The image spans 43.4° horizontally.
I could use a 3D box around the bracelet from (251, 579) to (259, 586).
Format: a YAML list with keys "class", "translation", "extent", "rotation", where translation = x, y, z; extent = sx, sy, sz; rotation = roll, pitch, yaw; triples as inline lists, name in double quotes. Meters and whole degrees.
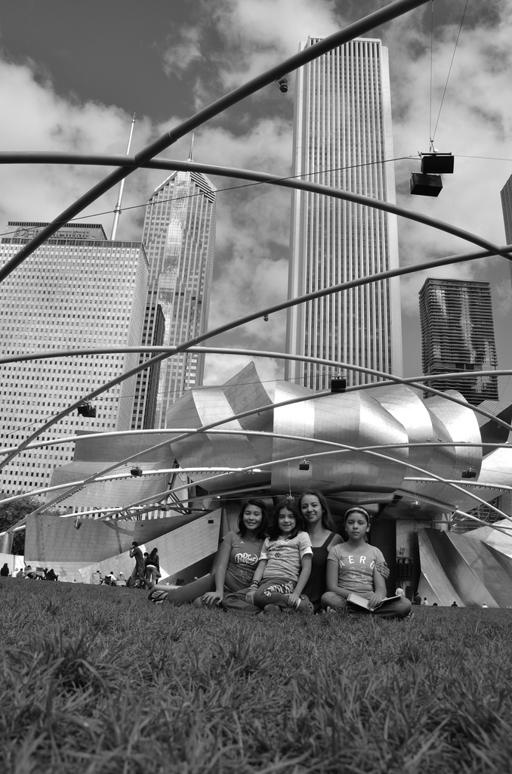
- class: "bracelet"
  translation: [-0.016, 2.420, 7.970]
  extent: [0.053, 0.053, 0.054]
  rotation: [-5, -20, 31]

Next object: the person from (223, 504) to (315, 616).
- class: "person"
  translation: [0.098, 2.121, 8.058]
  extent: [1.179, 1.567, 0.951]
  rotation: [2, -27, 5]

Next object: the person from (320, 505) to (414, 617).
- class: "person"
  translation: [1.257, 2.148, 7.915]
  extent: [1.040, 1.270, 1.082]
  rotation: [9, -17, -15]
